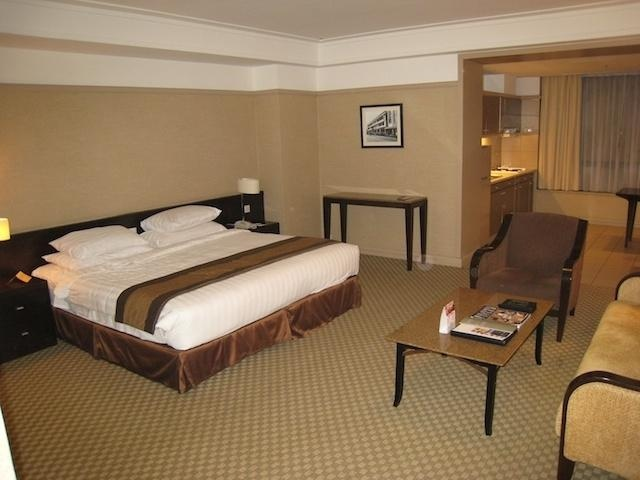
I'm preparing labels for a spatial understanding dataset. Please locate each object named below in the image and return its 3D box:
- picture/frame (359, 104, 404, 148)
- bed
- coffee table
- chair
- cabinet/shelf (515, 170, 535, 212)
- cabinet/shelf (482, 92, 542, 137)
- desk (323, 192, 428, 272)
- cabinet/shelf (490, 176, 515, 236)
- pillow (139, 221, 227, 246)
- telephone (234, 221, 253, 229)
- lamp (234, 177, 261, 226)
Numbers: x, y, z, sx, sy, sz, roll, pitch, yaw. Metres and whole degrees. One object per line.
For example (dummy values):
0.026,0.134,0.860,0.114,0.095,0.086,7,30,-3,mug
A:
0.955,-1.750,7.002,0.640,0.619,0.029,7,17,37,picture/frame
-1.494,0.535,4.790,2.004,0.992,2.266,7,16,36,bed
1.326,0.938,4.005,0.875,0.576,1.449,7,16,37,coffee table
2.216,0.359,4.912,0.939,1.142,0.901,8,16,35,chair
3.909,-0.959,8.873,0.376,0.709,0.746,10,19,39,cabinet/shelf
3.481,-2.298,8.509,1.504,0.734,0.413,-5,9,-25,cabinet/shelf
0.886,-0.133,6.906,1.111,0.805,0.465,5,13,33,desk
3.252,-0.575,8.423,0.441,0.999,1.144,-9,5,16,cabinet/shelf
-1.755,-0.068,5.737,0.361,0.158,0.601,19,23,41,pillow
-1.124,-0.214,6.691,0.138,0.070,0.177,-5,8,-38,telephone
-1.093,-0.530,6.892,0.363,0.742,0.347,5,9,2,lamp
